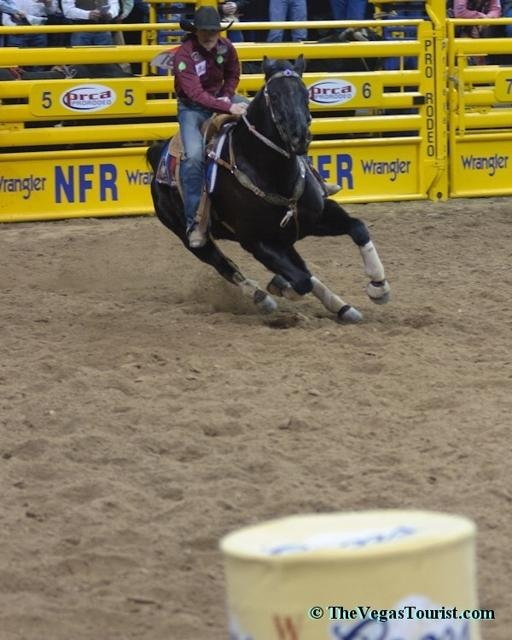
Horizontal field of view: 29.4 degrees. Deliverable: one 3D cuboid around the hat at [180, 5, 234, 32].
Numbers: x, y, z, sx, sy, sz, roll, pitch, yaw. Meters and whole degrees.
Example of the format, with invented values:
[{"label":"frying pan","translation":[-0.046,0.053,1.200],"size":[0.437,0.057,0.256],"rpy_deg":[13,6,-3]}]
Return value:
[{"label":"hat","translation":[-0.392,-2.109,6.820],"size":[0.303,0.183,0.363],"rpy_deg":[-2,15,-4]}]
